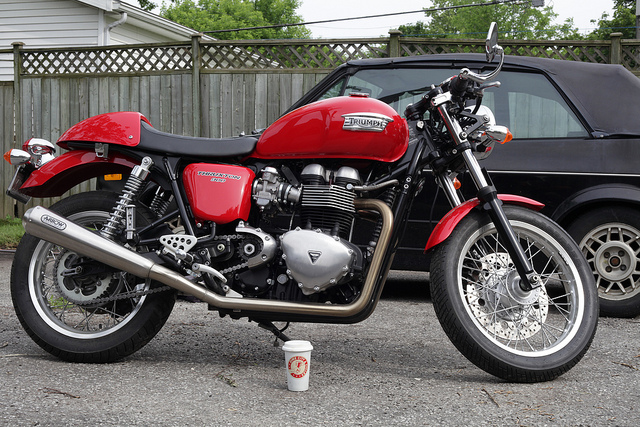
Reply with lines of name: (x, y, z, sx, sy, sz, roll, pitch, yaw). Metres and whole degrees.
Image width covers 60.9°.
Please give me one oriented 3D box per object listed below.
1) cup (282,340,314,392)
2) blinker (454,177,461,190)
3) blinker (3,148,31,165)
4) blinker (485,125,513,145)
cup: (-0.143, 0.931, 3.403, 0.173, 0.306, 0.175, 1, 7, 0)
blinker: (1.007, -0.225, 3.997, 0.059, 0.082, 0.021, -17, -6, 11)
blinker: (-2.163, -0.409, 3.894, 0.145, 0.097, 0.112, 1, 2, 0)
blinker: (1.210, -0.540, 3.671, 0.176, 0.096, 0.077, 12, 8, 12)
